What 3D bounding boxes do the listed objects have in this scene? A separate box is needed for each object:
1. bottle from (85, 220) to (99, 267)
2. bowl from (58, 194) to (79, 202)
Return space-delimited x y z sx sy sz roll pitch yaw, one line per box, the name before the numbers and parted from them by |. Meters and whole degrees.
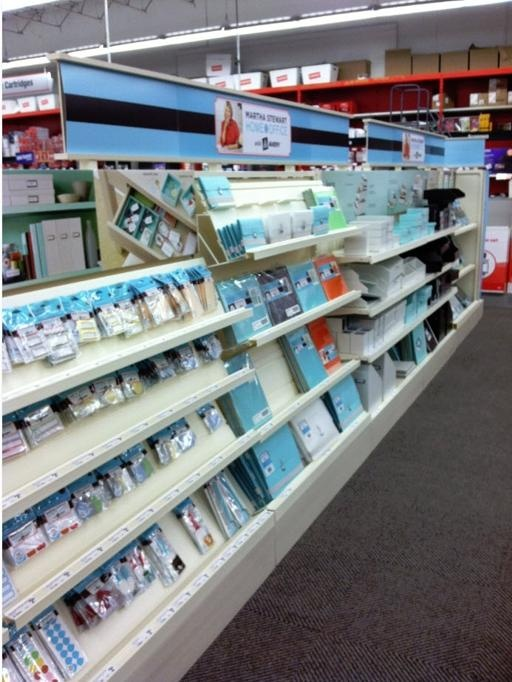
bottle | -0.555 -0.325 1.487 0.010 0.153 0.059 4 22 25
bowl | -0.591 -0.451 1.391 0.015 0.030 0.088 0 21 14
